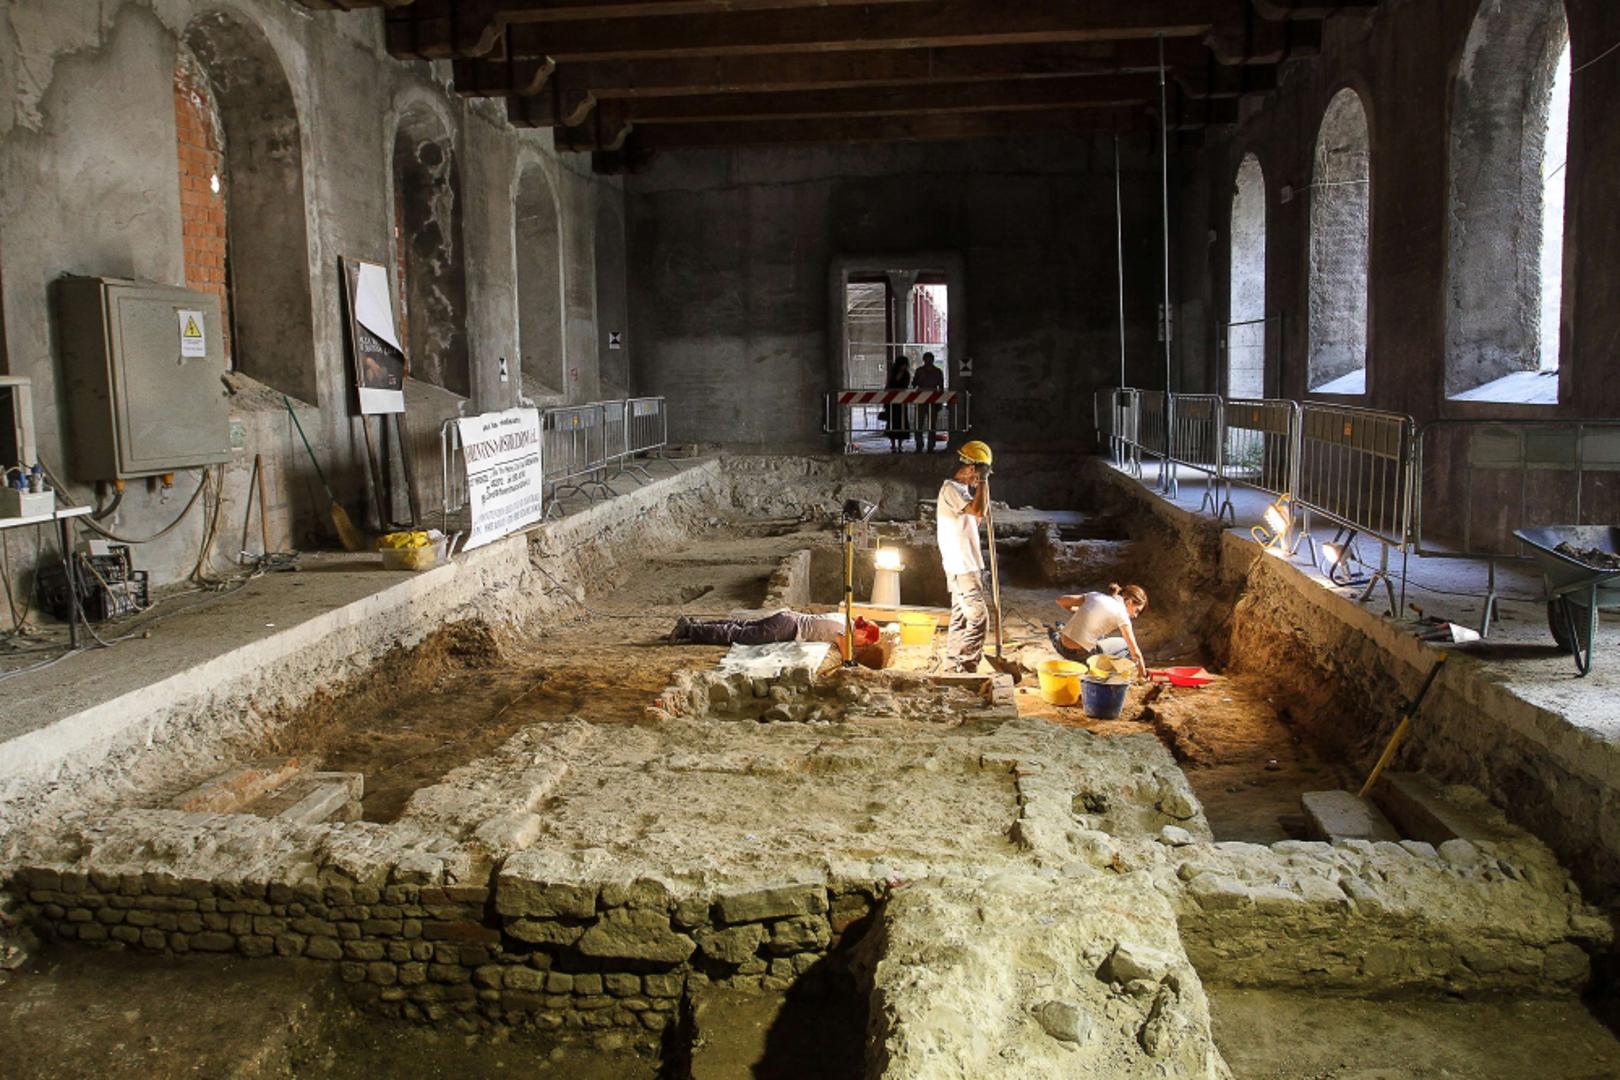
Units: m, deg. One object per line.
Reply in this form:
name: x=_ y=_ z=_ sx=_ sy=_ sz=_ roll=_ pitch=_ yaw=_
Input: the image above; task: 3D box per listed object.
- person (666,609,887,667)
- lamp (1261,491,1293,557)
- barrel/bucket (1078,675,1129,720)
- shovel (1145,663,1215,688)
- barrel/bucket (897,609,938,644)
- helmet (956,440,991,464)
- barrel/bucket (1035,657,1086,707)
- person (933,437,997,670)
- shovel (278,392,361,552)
person: x=-0.244 y=0.831 z=9.401 sx=1.528 sy=0.457 sz=0.795 roll=-2 pitch=1 yaw=2
lamp: x=4.312 y=-0.176 z=9.349 sx=0.187 sy=0.544 sz=0.692 roll=2 pitch=11 yaw=21
barrel/bucket: x=2.493 y=1.294 z=8.587 sx=0.365 sy=0.263 sz=0.354 roll=2 pitch=2 yaw=0
shovel: x=3.466 y=1.259 z=9.470 sx=0.408 sy=0.072 sz=0.269 roll=0 pitch=10 yaw=-11
barrel/bucket: x=1.185 y=0.916 z=10.894 sx=0.388 sy=0.138 sz=0.308 roll=6 pitch=5 yaw=1
helmet: x=1.545 y=-0.809 z=9.501 sx=0.254 sy=0.205 sz=0.432 roll=-1 pitch=10 yaw=5
barrel/bucket: x=2.189 y=1.219 z=8.885 sx=0.371 sy=0.260 sz=0.376 roll=-1 pitch=2 yaw=0
person: x=1.472 y=0.150 z=9.728 sx=0.462 sy=2.166 sz=0.804 roll=-1 pitch=11 yaw=7
shovel: x=-4.793 y=-0.707 z=10.045 sx=0.566 sy=1.500 sz=0.935 roll=-7 pitch=12 yaw=-23
